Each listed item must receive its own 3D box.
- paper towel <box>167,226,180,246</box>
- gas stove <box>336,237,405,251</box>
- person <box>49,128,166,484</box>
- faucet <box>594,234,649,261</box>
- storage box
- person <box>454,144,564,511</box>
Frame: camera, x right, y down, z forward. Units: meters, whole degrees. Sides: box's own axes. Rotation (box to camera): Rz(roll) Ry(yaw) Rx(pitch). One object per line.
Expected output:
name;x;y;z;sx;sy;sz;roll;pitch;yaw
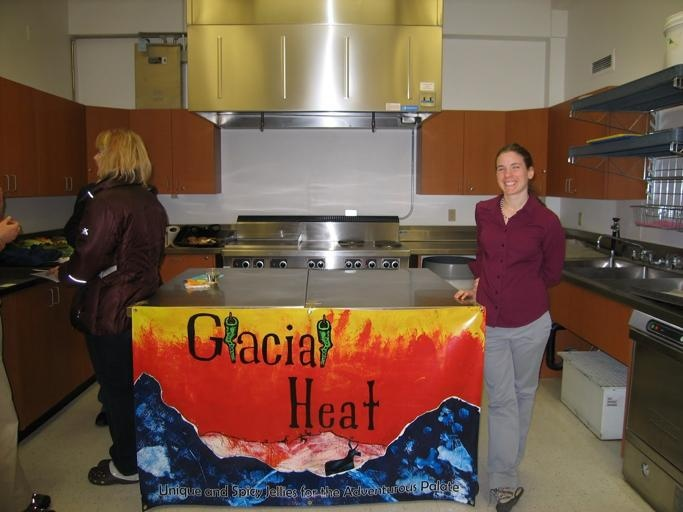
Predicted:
paper towel;-1.633;-0.197;5.579;0.058;0.172;0.111;9;-17;28
gas stove;0.267;-0.109;5.593;0.609;0.029;0.524;1;11;0
person;-1.393;0.335;3.597;0.650;2.212;0.328;-4;10;-28
faucet;2.319;-0.073;4.768;0.100;0.131;0.346;1;17;-26
storage box;1.829;0.996;4.198;0.458;0.312;0.485;-1;9;-8
person;1.017;0.411;3.589;0.456;2.162;0.467;-6;11;-37
